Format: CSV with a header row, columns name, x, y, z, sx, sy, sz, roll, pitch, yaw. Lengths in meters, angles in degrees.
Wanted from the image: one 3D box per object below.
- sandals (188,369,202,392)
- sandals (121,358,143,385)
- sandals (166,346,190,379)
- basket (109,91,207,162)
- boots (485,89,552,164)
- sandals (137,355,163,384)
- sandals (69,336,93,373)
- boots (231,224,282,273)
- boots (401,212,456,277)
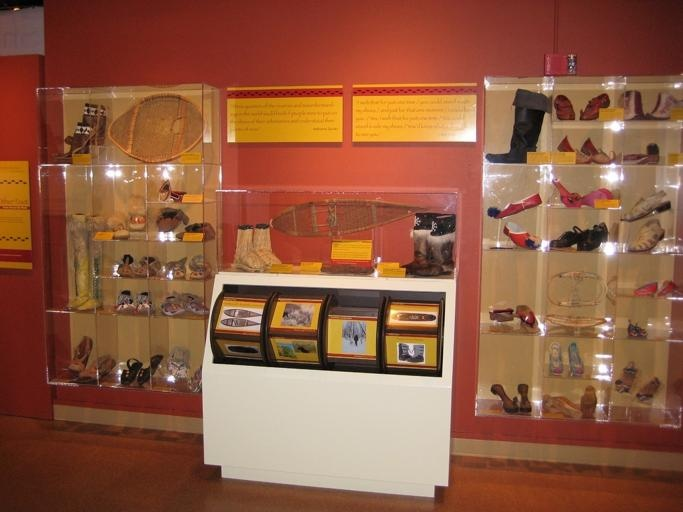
name,x,y,z,sx,sy,sz,roll,pitch,yaw
sandals,-1.073,0.913,4.585,0.103,0.195,0.070,9,7,27
sandals,-1.576,0.866,4.694,0.114,0.213,0.067,16,-16,11
sandals,-1.207,0.776,4.630,0.167,0.231,0.222,3,-17,-8
basket,-1.354,-0.934,4.519,0.730,0.486,0.141,5,15,16
boots,1.293,-0.920,4.348,0.532,0.658,0.384,5,15,11
sandals,-1.431,0.843,4.623,0.133,0.256,0.065,28,-11,45
sandals,-1.982,0.738,4.725,0.128,0.325,0.086,8,4,19
boots,-0.605,-0.073,4.327,0.329,0.330,0.288,6,8,40
boots,0.620,-0.091,4.167,0.366,0.488,0.397,2,5,19
